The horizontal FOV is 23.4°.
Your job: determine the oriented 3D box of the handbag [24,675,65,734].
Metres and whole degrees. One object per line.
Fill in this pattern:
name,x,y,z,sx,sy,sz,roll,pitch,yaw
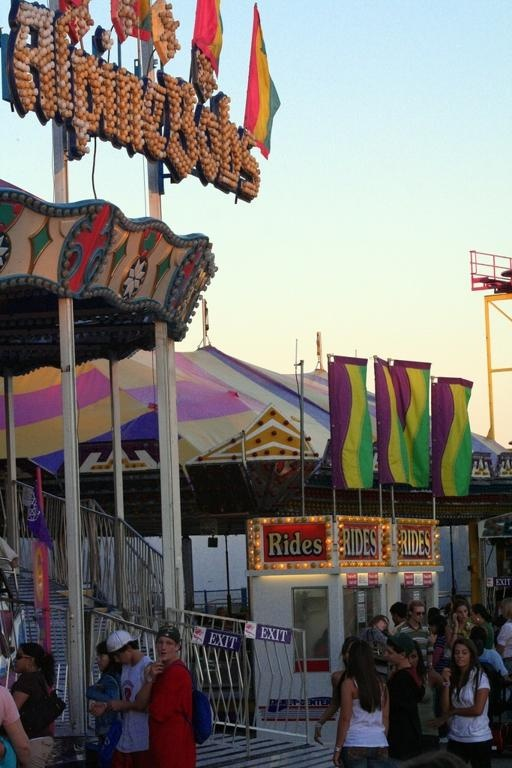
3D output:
handbag,-1.130,1.701,6.599,0.108,0.342,0.303,-4,-7,24

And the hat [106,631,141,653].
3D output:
hat,-0.744,1.426,6.869,0.144,0.092,0.115,-17,16,-12

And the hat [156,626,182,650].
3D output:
hat,-0.479,1.319,6.625,0.112,0.134,0.166,10,-27,11

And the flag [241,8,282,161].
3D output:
flag,0.048,-3.311,13.618,0.299,1.808,1.004,-2,-7,5

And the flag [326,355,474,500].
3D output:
flag,1.719,0.547,14.982,2.161,1.691,0.233,6,-10,-44
